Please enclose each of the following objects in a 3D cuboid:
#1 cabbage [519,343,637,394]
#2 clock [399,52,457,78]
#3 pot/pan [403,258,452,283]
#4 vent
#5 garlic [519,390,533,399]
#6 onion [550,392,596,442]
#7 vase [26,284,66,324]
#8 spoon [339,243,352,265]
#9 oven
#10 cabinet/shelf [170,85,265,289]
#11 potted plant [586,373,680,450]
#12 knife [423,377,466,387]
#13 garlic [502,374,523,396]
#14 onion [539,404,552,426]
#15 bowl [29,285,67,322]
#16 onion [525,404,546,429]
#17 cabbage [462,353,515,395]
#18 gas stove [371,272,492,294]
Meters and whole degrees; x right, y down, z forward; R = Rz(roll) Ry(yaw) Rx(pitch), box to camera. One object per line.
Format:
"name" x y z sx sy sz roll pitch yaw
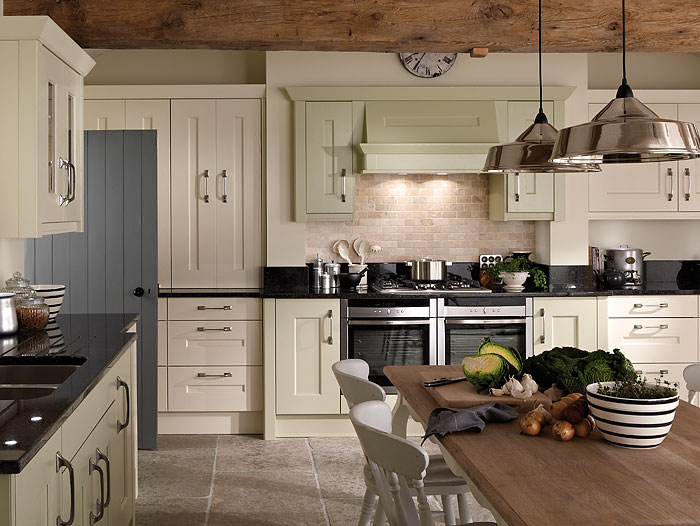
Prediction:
"cabbage" 0.897 0.391 2.369 0.276 0.122 0.276 -3 -4 -21
"clock" 0.578 -1.548 4.615 0.408 0.307 0.031 1 -1 1
"pot/pan" 0.653 0.071 5.006 0.361 0.123 0.194 0 -1 -2
"vent" 0.603 -1.051 4.731 1.193 0.455 0.525 -2 27 -8
"garlic" 0.679 0.514 2.321 0.042 0.016 0.050 1 4 22
"onion" 0.769 0.538 2.086 0.117 0.056 0.164 -4 9 5
"vase" -1.699 0.228 3.351 0.273 0.173 0.243 0 1 0
"spoon" -0.054 -0.076 5.093 0.083 0.218 0.034 -32 8 -10
"oven" 0.613 0.680 4.724 1.498 0.680 0.659 0 -6 -7
"cabinet/shelf" -1.077 -0.570 4.790 0.855 1.566 0.244 7 7 -12
"potted plant" 0.938 0.491 2.001 0.287 0.136 0.249 0 -5 2
"knife" 0.395 0.509 2.561 0.263 0.028 0.052 0 2 -22
"garlic" 0.630 0.481 2.327 0.065 0.068 0.031 3 -43 16
"onion" 0.684 0.548 2.130 0.052 0.065 0.055 -9 -9 1
"bowl" -1.661 0.225 3.316 0.254 0.160 0.226 0 1 1
"onion" 0.655 0.545 2.107 0.039 0.054 0.093 -48 -13 31
"cabbage" 0.541 0.444 2.375 0.218 0.101 0.146 -4 5 -4
"gas stove" 0.614 0.187 4.636 0.873 0.113 0.438 5 6 -3
